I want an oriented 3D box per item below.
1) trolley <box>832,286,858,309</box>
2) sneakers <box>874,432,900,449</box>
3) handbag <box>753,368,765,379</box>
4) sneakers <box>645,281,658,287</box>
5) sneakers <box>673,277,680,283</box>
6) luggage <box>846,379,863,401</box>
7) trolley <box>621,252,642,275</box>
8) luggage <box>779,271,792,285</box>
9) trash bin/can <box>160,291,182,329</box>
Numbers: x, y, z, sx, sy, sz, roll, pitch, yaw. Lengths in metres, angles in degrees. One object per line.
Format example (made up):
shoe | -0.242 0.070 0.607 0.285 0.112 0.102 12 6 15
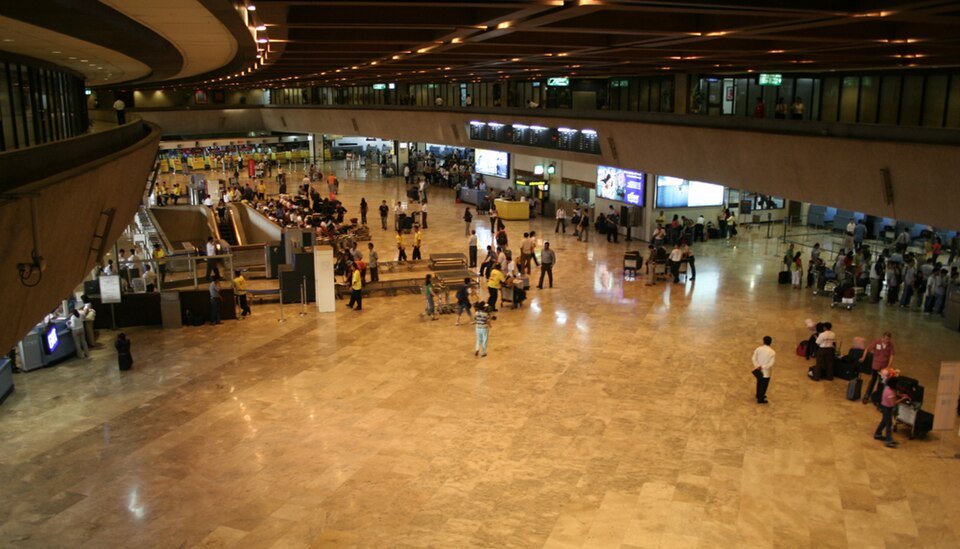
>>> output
trolley | 13.638 0.834 21.838 0.972 0.895 0.801 4 8 27
sneakers | 9.830 3.996 14.251 0.493 0.195 0.215 16 32 43
handbag | 7.339 2.595 15.588 0.136 0.293 0.306 -14 16 -37
sneakers | 7.118 0.383 24.483 0.613 0.148 0.144 -9 -10 -10
sneakers | 8.303 0.215 24.769 0.280 0.400 0.302 5 9 28
luggage | 10.146 3.131 15.953 0.567 0.439 0.198 -11 14 -42
trolley | 6.260 -0.463 25.266 1.023 1.042 1.020 3 8 21
luggage | 12.540 0.146 24.181 0.653 0.529 0.309 1 7 -7
trash bin/can | -11.053 1.233 21.147 0.709 1.310 0.366 -8 14 -17
